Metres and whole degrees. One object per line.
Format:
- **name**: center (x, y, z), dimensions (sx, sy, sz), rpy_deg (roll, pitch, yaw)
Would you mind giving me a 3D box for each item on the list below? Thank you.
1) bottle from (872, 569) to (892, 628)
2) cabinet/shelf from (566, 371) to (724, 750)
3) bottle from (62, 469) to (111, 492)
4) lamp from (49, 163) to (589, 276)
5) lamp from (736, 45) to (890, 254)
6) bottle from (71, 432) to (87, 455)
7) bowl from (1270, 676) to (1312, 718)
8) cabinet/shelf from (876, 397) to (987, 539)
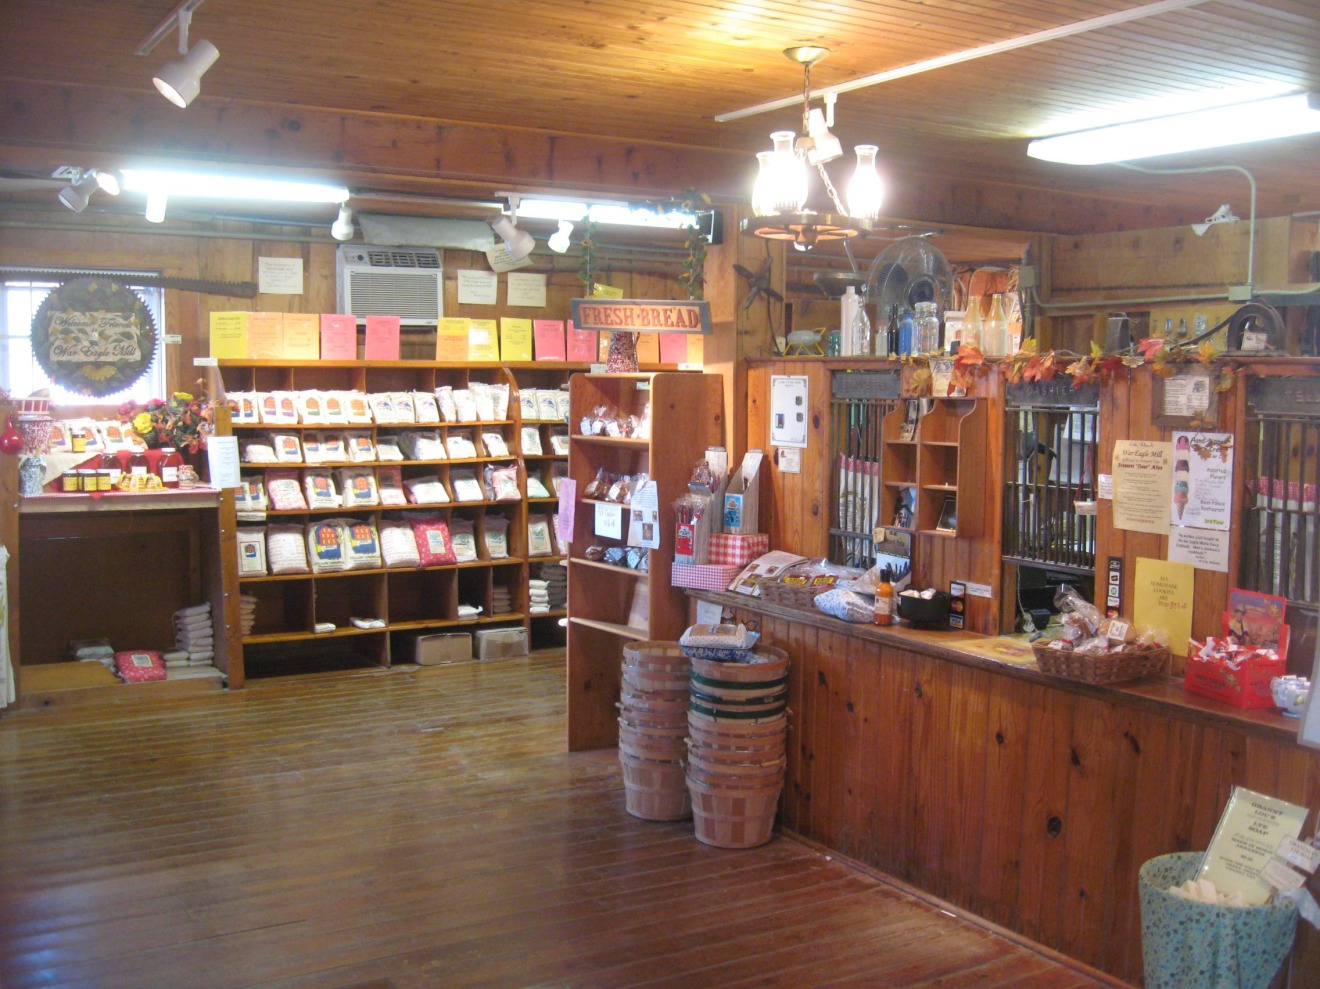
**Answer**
- **bottle**: center (1.120, 0.508, 5.353), dimensions (0.109, 0.242, 0.249), rpy_deg (1, 7, 11)
- **cabinet/shelf**: center (-0.184, 0.444, 6.815), dimensions (0.672, 2.464, 1.126), rpy_deg (-6, 9, -40)
- **bottle**: center (-4.222, -0.103, 7.834), dimensions (0.251, 0.133, 0.177), rpy_deg (1, 5, -6)
- **lamp**: center (-2.683, -2.081, 8.069), dimensions (3.482, 0.527, 2.000), rpy_deg (-4, 8, -31)
- **lamp**: center (0.709, -1.613, 4.978), dimensions (0.623, 0.891, 0.620), rpy_deg (-6, 15, -16)
- **bottle**: center (-4.462, -0.407, 8.158), dimensions (0.135, 0.189, 0.134), rpy_deg (-1, -3, 0)
- **bowl**: center (2.299, 0.725, 3.901), dimensions (0.132, 0.131, 0.135), rpy_deg (1, 5, 0)
- **cabinet/shelf**: center (1.341, -0.142, 5.185), dimensions (0.278, 0.877, 0.673), rpy_deg (1, 1, -33)
